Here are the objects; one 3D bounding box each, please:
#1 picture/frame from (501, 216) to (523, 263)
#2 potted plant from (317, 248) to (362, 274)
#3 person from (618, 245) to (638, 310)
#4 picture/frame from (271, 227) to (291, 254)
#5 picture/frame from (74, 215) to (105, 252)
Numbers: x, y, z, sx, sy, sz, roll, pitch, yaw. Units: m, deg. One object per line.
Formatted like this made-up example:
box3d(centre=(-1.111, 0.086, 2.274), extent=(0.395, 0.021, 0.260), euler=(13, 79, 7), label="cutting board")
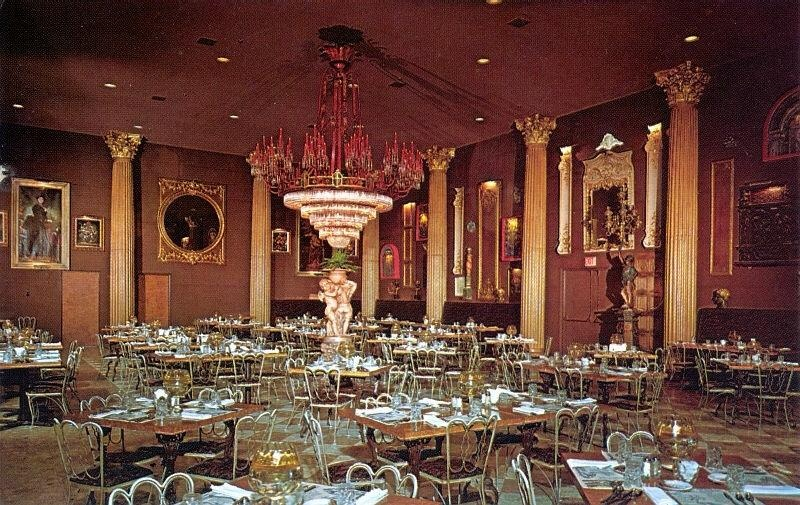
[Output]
box3d(centre=(3.390, -0.425, 19.035), extent=(0.169, 1.405, 0.805), euler=(6, -8, -33), label="picture/frame")
box3d(centre=(-1.975, 0.220, 18.976), extent=(1.018, 0.580, 0.991), euler=(-1, 1, -38), label="potted plant")
box3d(centre=(5.840, 0.728, 15.772), extent=(0.409, 1.428, 0.818), euler=(-1, -7, 20), label="person")
box3d(centre=(-4.394, -0.470, 22.479), extent=(0.976, 1.036, 0.334), euler=(2, -5, -39), label="picture/frame")
box3d(centre=(-9.900, -0.606, 19.569), extent=(1.187, 1.340, 0.106), euler=(1, -2, -22), label="picture/frame")
